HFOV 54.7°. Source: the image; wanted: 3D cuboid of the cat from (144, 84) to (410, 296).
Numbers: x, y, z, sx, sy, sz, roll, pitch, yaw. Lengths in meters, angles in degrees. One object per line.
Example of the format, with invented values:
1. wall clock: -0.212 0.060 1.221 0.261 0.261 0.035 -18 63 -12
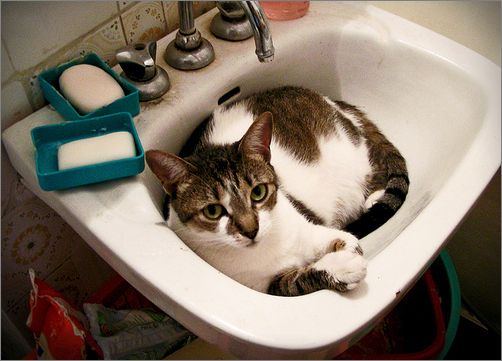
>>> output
1. cat: 0.024 0.041 1.606 0.743 0.630 0.611 -32 59 -23

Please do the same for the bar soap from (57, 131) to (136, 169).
1. bar soap: -0.378 -0.076 1.186 0.182 0.065 0.076 -13 82 0

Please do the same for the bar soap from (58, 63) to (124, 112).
1. bar soap: -0.414 -0.237 1.258 0.153 0.064 0.115 43 64 7
